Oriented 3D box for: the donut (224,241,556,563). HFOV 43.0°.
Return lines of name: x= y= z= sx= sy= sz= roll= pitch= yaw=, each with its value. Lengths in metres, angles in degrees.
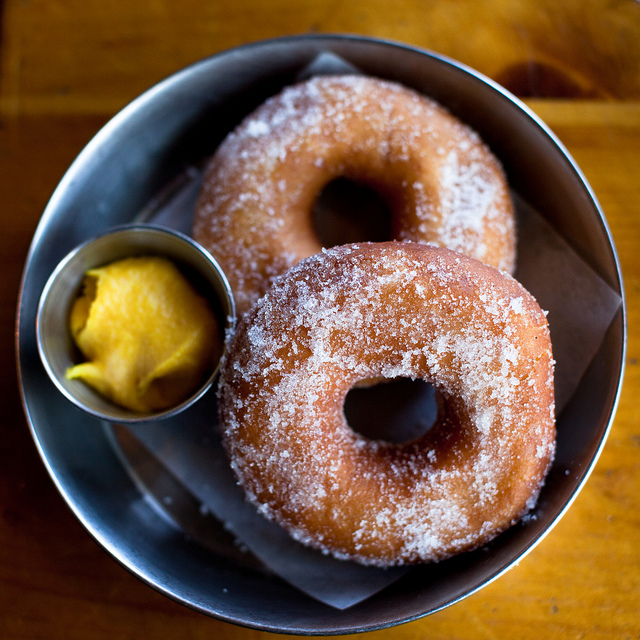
donut: x=0.080 y=0.097 z=0.938 sx=0.376 sy=0.135 sz=0.361 roll=1 pitch=80 yaw=0
